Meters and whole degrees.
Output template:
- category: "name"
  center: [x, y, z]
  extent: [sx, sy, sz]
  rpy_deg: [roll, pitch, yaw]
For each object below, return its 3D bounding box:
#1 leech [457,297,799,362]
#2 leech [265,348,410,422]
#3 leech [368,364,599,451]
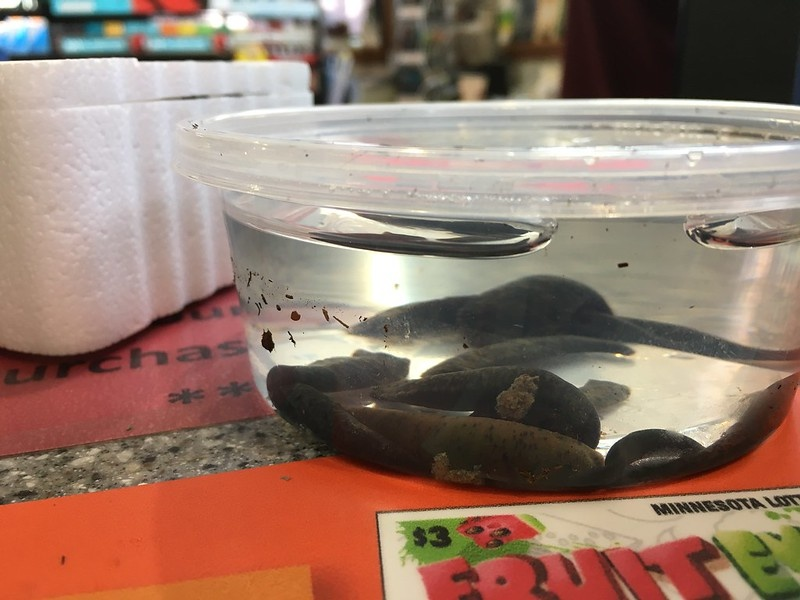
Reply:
- category: "leech"
  center: [0.180, 0.020, 0.641]
  extent: [0.268, 0.069, 0.029]
  rpy_deg: [2, 24, 4]
- category: "leech"
  center: [-0.055, 0.075, 0.705]
  extent: [0.115, 0.033, 0.078]
  rpy_deg: [-2, -1, 13]
- category: "leech"
  center: [0.071, 0.085, 0.675]
  extent: [0.200, 0.038, 0.084]
  rpy_deg: [5, -13, 8]
